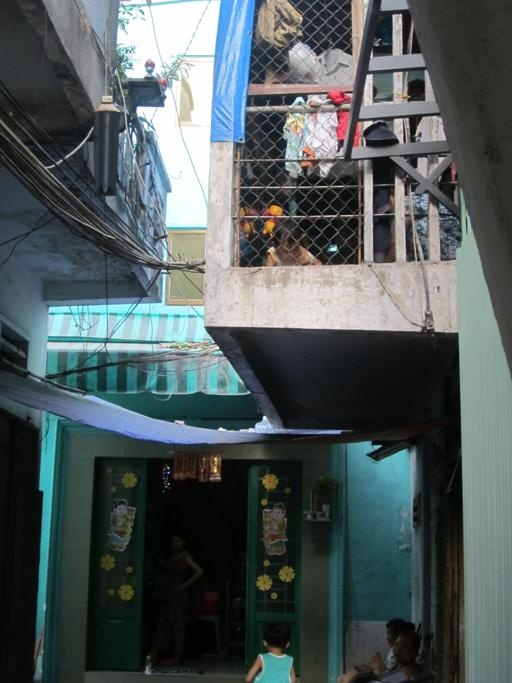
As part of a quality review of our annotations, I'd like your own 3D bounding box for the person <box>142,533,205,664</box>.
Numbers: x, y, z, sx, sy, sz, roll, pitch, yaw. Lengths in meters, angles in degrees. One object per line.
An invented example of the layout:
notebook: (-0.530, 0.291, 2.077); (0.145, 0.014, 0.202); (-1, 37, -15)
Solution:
person: (-1.036, 3.289, 11.586); (0.697, 1.571, 2.066); (0, -15, -5)
